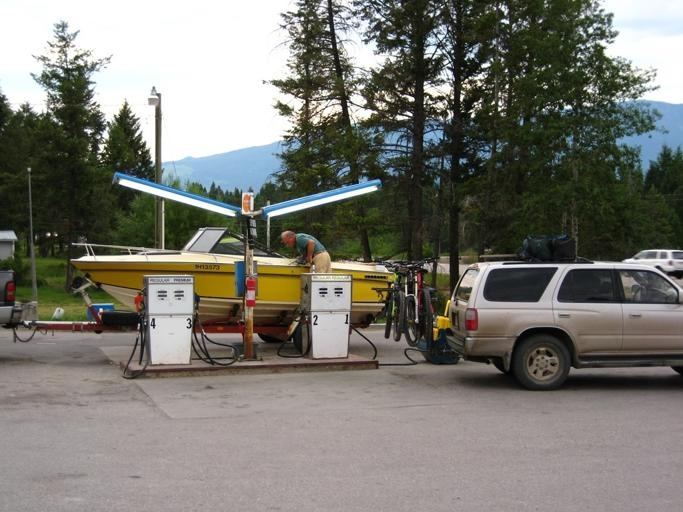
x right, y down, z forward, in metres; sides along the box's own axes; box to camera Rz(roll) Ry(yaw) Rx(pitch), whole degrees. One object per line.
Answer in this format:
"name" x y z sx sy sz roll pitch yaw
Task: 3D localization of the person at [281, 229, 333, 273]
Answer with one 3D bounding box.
"person" -0.751 -0.101 16.830 1.037 0.910 1.547 0 2 -1
